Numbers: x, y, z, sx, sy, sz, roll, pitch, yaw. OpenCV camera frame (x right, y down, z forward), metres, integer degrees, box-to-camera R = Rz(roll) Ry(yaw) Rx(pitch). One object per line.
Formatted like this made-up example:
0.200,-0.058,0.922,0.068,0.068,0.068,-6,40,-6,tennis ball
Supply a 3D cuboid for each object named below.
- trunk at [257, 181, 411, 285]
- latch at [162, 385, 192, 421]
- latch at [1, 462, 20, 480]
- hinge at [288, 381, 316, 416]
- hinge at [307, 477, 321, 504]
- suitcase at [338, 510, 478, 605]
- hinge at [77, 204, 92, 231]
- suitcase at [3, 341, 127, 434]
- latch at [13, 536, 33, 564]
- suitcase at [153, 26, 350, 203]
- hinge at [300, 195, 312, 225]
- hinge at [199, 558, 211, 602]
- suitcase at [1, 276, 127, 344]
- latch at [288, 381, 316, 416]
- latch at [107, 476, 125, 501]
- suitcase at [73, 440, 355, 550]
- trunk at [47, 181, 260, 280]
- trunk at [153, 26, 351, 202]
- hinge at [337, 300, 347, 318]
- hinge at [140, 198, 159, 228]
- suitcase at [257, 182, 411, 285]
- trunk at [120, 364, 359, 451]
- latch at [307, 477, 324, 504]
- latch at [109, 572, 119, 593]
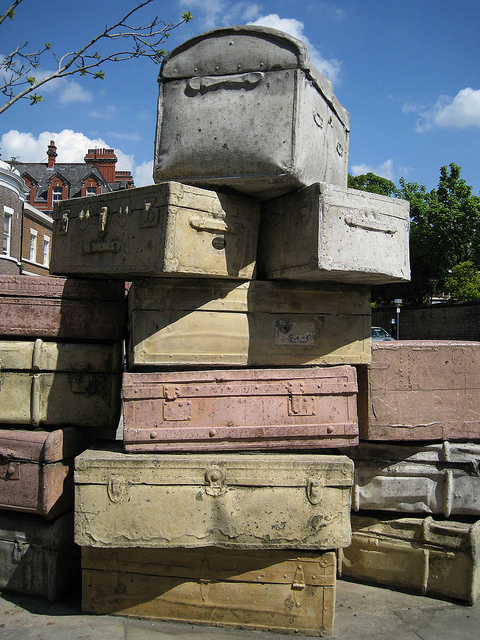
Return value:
0.588,-0.533,5.245,0.734,0.563,0.747,-10,-15,43,trunk
-0.400,0.560,5.068,0.210,0.248,0.188,1,11,1,latch
-1.582,1.047,5.300,0.104,0.131,0.031,4,4,22,latch
0.409,0.526,5.099,0.171,0.247,0.038,1,-8,-8,hinge
0.468,1.078,4.837,0.109,0.237,0.075,1,-6,2,hinge
1.209,1.620,5.339,0.789,0.518,0.508,-3,-14,26,suitcase
-1.137,-0.754,5.625,0.032,0.262,0.167,4,-5,-43,hinge
-1.295,0.455,5.546,0.881,0.718,0.630,1,-10,-3,suitcase
-1.491,1.574,5.294,0.154,0.241,0.151,2,-12,-10,latch
0.173,-1.424,5.881,1.077,1.126,1.611,2,-2,24,suitcase
0.437,-0.733,5.081,0.019,0.197,0.141,4,-7,-20,hinge
-0.234,1.666,4.908,0.040,0.274,0.069,-13,-20,31,hinge
-1.321,-0.107,5.775,0.943,0.489,0.155,4,-7,-12,suitcase
0.409,0.527,5.099,0.169,0.243,0.041,1,-11,-8,latch
-0.784,1.060,4.848,0.088,0.149,0.035,1,-5,6,latch
-0.184,1.137,4.837,2.063,0.727,1.365,1,-4,1,suitcase
-0.654,-0.595,5.759,1.362,0.633,1.061,1,-1,38,trunk
0.173,-1.434,5.914,1.113,1.161,1.664,1,-4,23,trunk
0.730,-0.079,5.453,0.049,0.129,0.085,6,-7,33,hinge
-0.593,-0.712,5.078,0.176,0.298,0.038,1,0,43,hinge
0.653,-0.579,5.256,1.057,0.614,0.695,2,-7,1,suitcase
0.047,0.569,5.970,1.709,0.711,1.127,1,-5,1,trunk
0.475,1.069,4.836,0.090,0.152,0.036,3,-3,3,latch
-0.814,1.684,4.963,0.081,0.101,0.021,2,0,8,latch
